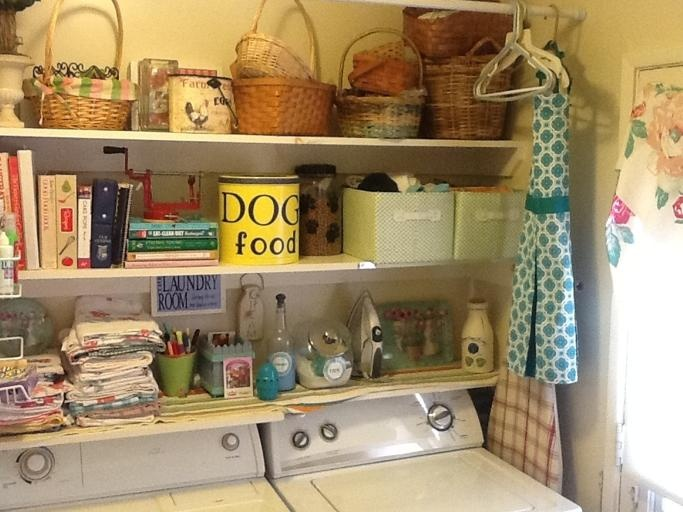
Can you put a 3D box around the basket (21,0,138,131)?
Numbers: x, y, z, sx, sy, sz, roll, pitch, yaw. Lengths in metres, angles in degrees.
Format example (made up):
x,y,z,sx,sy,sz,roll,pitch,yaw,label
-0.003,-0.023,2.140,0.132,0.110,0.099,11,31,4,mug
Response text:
x,y,z,sx,sy,sz,roll,pitch,yaw,label
-0.790,-0.581,1.791,0.298,0.390,0.147,-3,12,-21,basket

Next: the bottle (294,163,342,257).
x,y,z,sx,sy,sz,roll,pitch,yaw,label
-0.110,-0.171,2.215,0.207,0.351,0.214,-2,5,0,bottle

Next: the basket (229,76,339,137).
x,y,z,sx,sy,sz,roll,pitch,yaw,label
-0.215,-0.528,2.068,0.281,0.169,0.366,-9,18,-41,basket

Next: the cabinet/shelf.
x,y,z,sx,sy,sz,roll,pitch,yaw,label
-0.297,0.106,2.032,1.252,0.667,0.321,0,-9,-18,cabinet/shelf

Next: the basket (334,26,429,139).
x,y,z,sx,sy,sz,roll,pitch,yaw,label
0.142,-0.610,2.084,0.313,0.385,0.194,2,11,3,basket

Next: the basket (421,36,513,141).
x,y,z,sx,sy,sz,roll,pitch,yaw,label
0.390,-0.606,2.195,0.366,0.351,0.310,1,6,-6,basket

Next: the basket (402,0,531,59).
x,y,z,sx,sy,sz,roll,pitch,yaw,label
0.426,-0.796,2.127,0.273,0.104,0.279,1,10,-9,basket

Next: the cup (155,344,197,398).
x,y,z,sx,sy,sz,roll,pitch,yaw,label
-0.578,0.422,2.104,0.136,0.145,0.136,-4,-9,-1,cup

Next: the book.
x,y,z,sx,sy,sz,roll,pitch,yaw,label
-0.707,-0.170,1.961,0.597,0.376,0.326,-2,11,-15,book

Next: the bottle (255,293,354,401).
x,y,z,sx,sy,sz,roll,pitch,yaw,label
-0.198,0.367,2.276,0.405,0.395,0.284,1,-2,-15,bottle

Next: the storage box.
x,y,z,sx,sy,sz,roll,pitch,yaw,label
0.349,-0.140,2.174,0.663,0.304,0.236,-1,11,-10,storage box
